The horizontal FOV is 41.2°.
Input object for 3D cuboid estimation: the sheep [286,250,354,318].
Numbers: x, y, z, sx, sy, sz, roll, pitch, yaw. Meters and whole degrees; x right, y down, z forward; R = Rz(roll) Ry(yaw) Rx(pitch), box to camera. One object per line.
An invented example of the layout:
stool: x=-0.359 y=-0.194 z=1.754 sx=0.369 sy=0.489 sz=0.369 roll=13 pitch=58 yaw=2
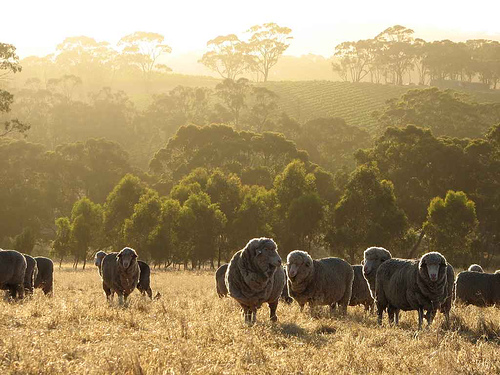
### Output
sheep: x=3.231 y=4.588 z=32.527 sx=3.801 sy=3.342 sz=1.190 roll=-5 pitch=7 yaw=-42

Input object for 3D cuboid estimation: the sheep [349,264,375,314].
sheep: x=6.034 y=5.626 z=36.142 sx=1.162 sy=2.907 sz=3.376 roll=3 pitch=-18 yaw=9

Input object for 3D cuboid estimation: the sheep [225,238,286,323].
sheep: x=0.153 y=4.219 z=30.352 sx=2.572 sy=3.901 sz=1.755 roll=-1 pitch=5 yaw=-3

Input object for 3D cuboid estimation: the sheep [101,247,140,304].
sheep: x=-6.660 y=4.338 z=34.681 sx=1.645 sy=2.690 sz=3.957 roll=-3 pitch=6 yaw=-22
